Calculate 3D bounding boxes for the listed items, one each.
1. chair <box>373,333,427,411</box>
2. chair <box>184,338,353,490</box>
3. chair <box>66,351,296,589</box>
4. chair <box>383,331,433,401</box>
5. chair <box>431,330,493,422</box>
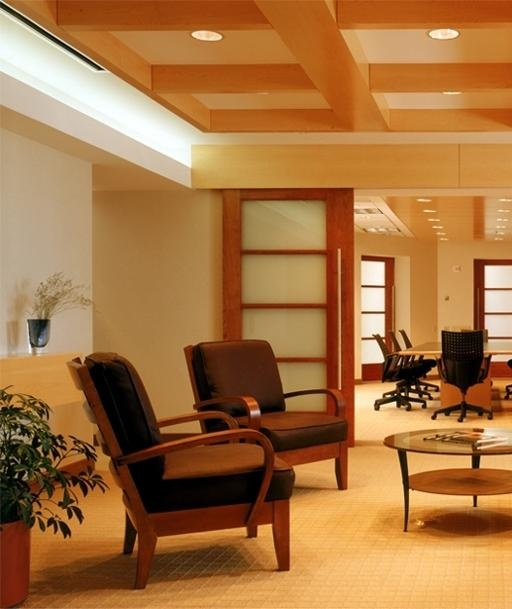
[{"bbox_3d":[2.026,0.949,7.945,0.919,0.967,0.817,5,-9,-11],"label":"chair"},{"bbox_3d":[0.051,0.704,3.648,0.761,0.828,0.864,2,2,-38],"label":"chair"},{"bbox_3d":[-0.316,0.644,2.348,0.906,0.772,0.603,5,-5,-25],"label":"chair"},{"bbox_3d":[2.137,0.981,8.092,0.790,0.928,0.742,1,-14,23],"label":"chair"},{"bbox_3d":[2.413,0.837,6.666,0.657,1.043,0.856,-3,-5,20],"label":"chair"}]
